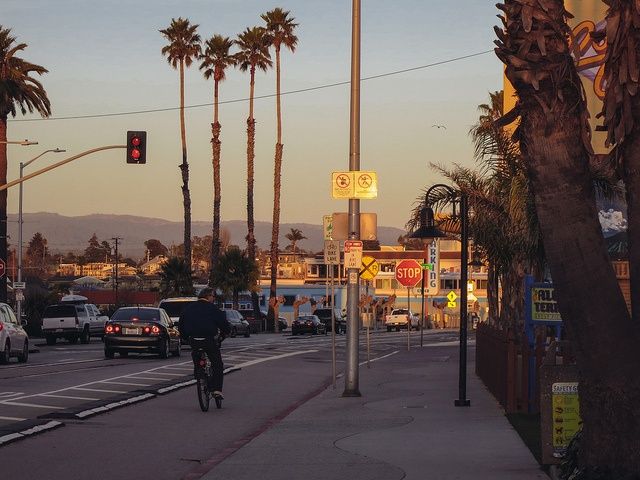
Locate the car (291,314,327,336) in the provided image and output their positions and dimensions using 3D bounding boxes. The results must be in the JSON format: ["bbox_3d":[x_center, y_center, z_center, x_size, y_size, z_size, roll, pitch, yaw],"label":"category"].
[{"bbox_3d":[-0.688,4.926,62.834,1.674,1.089,2.167,-2,-6,9],"label":"car"}]

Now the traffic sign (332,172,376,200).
[{"bbox_3d":[0.712,-1.127,22.700,0.888,0.570,0.273,-1,-5,-1],"label":"traffic sign"}]

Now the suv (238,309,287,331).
[{"bbox_3d":[-4.148,5.713,77.096,3.116,1.200,1.488,-1,-2,4],"label":"suv"}]

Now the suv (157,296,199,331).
[{"bbox_3d":[-5.555,2.975,42.102,1.328,1.229,2.342,0,2,-1],"label":"suv"}]

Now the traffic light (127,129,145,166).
[{"bbox_3d":[-5.682,-2.810,33.550,0.706,1.021,0.280,4,-7,-42],"label":"traffic light"}]

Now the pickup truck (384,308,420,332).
[{"bbox_3d":[5.697,5.487,74.543,1.383,1.070,2.876,0,0,22],"label":"pickup truck"}]

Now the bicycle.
[{"bbox_3d":[-2.147,2.557,20.296,0.585,0.765,1.221,-1,5,4],"label":"bicycle"}]

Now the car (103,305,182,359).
[{"bbox_3d":[-5.427,2.891,33.973,1.566,1.617,2.272,-6,-7,43],"label":"car"}]

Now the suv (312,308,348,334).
[{"bbox_3d":[0.626,4.901,64.378,1.490,1.406,2.662,0,2,10],"label":"suv"}]

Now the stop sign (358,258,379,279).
[{"bbox_3d":[1.334,0.801,30.291,0.613,0.634,0.088,-24,7,3],"label":"stop sign"}]
